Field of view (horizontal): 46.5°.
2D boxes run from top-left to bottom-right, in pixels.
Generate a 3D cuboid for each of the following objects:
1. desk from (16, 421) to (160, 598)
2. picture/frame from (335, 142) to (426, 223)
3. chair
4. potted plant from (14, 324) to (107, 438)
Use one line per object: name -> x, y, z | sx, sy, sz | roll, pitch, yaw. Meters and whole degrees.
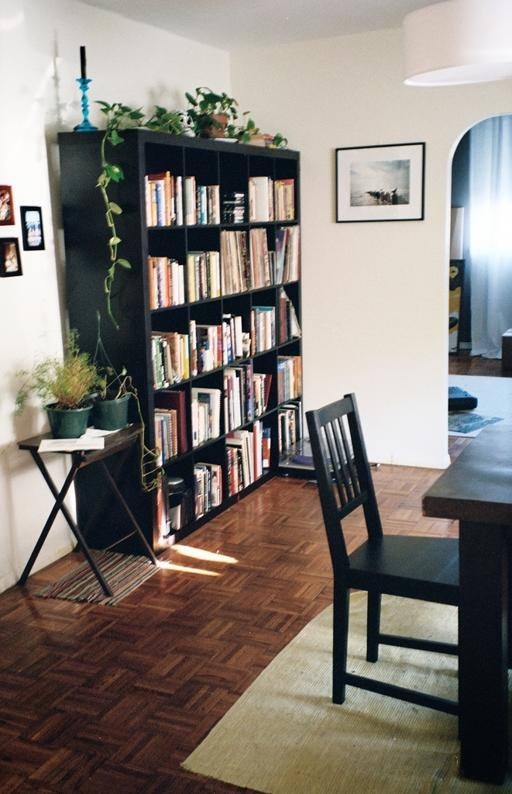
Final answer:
desk -> -0.827, 0.511, 2.782 | 0.559, 0.727, 0.642 | -1, 2, 17
picture/frame -> 0.889, -1.515, 4.164 | 0.536, 0.475, 0.022 | 7, 17, 31
chair -> 0.436, 0.468, 1.756 | 0.445, 0.861, 0.421 | -1, 4, 30
potted plant -> -0.891, -0.066, 2.775 | 0.356, 0.489, 0.465 | -1, 2, 11
